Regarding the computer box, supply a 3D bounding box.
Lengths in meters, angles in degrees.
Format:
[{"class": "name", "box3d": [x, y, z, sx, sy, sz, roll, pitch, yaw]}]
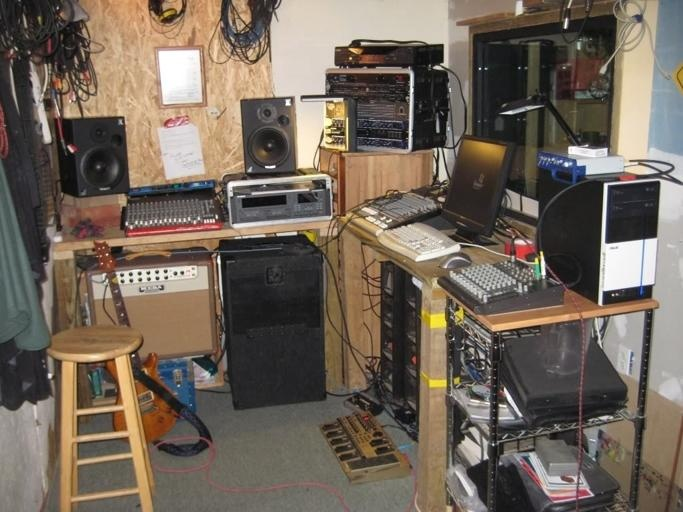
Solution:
[{"class": "computer box", "box3d": [1.031, -0.109, 2.408, 0.248, 0.471, 0.431, -7, 16, -13]}]

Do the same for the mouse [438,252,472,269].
[{"class": "mouse", "box3d": [0.499, 0.003, 2.593, 0.111, 0.041, 0.069, -13, 23, -20]}]

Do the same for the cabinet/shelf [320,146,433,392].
[{"class": "cabinet/shelf", "box3d": [0.371, -0.001, 4.000, 0.774, 0.630, 2.434, -11, 30, 8]}]

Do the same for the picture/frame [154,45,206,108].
[{"class": "picture/frame", "box3d": [-0.952, -1.060, 3.454, 0.321, 0.397, 0.026, -3, 11, -14]}]

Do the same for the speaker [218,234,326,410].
[{"class": "speaker", "box3d": [-0.410, 0.343, 3.545, 0.548, 0.934, 0.548, -4, 20, -13]}]

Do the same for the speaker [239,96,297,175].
[{"class": "speaker", "box3d": [-0.433, -0.747, 3.480, 0.350, 0.437, 0.339, 3, 28, 4]}]

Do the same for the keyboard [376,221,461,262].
[{"class": "keyboard", "box3d": [0.370, -0.074, 2.781, 0.193, 0.046, 0.255, -17, 27, -25]}]

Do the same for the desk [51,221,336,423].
[{"class": "desk", "box3d": [-0.814, 0.350, 3.201, 0.983, 0.773, 0.360, -3, 16, -11]}]

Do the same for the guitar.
[{"class": "guitar", "box3d": [-1.170, 0.446, 3.234, 0.102, 1.102, 0.313, -29, -17, 34]}]

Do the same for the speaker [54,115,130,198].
[{"class": "speaker", "box3d": [-1.394, -0.577, 3.350, 0.324, 0.442, 0.274, -10, 22, -31]}]
